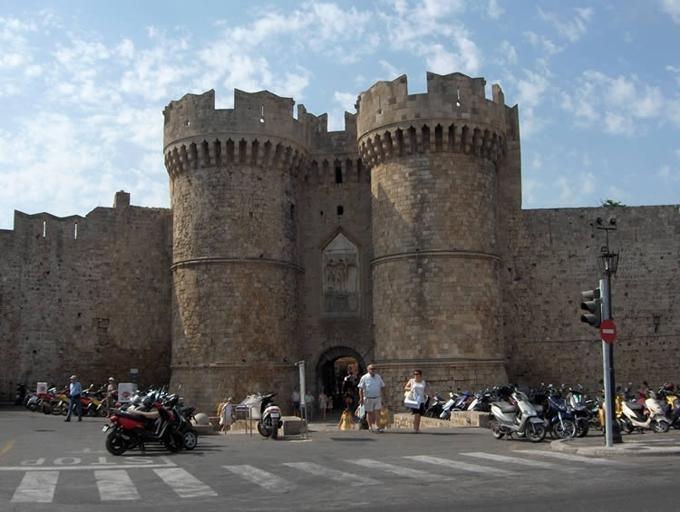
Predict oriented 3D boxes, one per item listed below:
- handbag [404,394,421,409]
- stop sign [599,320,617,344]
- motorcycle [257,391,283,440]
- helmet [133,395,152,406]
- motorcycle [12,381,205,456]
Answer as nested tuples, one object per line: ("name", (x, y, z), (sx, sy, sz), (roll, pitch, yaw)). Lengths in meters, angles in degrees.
("handbag", (1.732, 3.473, 26.533), (0.391, 0.287, 0.218), (-4, -13, 24))
("stop sign", (5.801, 1.648, 24.188), (0.312, 0.503, 0.391), (-1, -12, 12))
("motorcycle", (-1.685, 3.868, 27.462), (0.580, 1.008, 1.667), (-1, -3, -12))
("helmet", (-4.618, 3.369, 26.030), (0.390, 0.165, 0.391), (-1, -1, -3))
("motorcycle", (-4.510, 3.674, 24.779), (2.347, 1.340, 1.170), (6, -17, -33))
